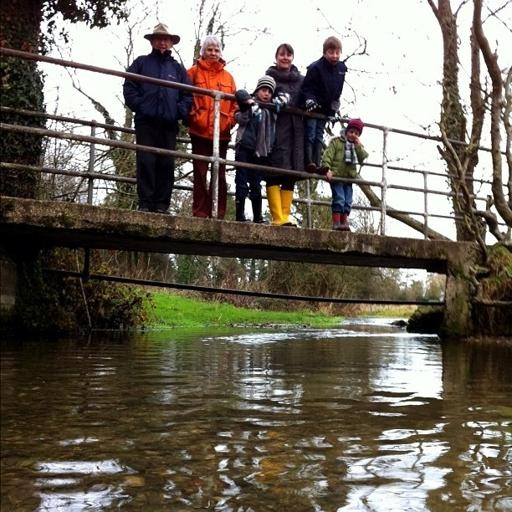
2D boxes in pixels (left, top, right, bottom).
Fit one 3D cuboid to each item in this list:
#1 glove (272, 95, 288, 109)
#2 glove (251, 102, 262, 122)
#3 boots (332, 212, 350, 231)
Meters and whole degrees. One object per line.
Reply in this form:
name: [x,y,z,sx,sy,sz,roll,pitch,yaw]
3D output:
glove: [0.245,-1.555,7.597,0.104,0.186,0.078,14,-45,14]
glove: [0.011,-1.406,7.328,0.057,0.138,0.189,1,2,12]
boots: [0.924,-0.378,8.412,0.161,0.199,0.194,1,-5,-41]
